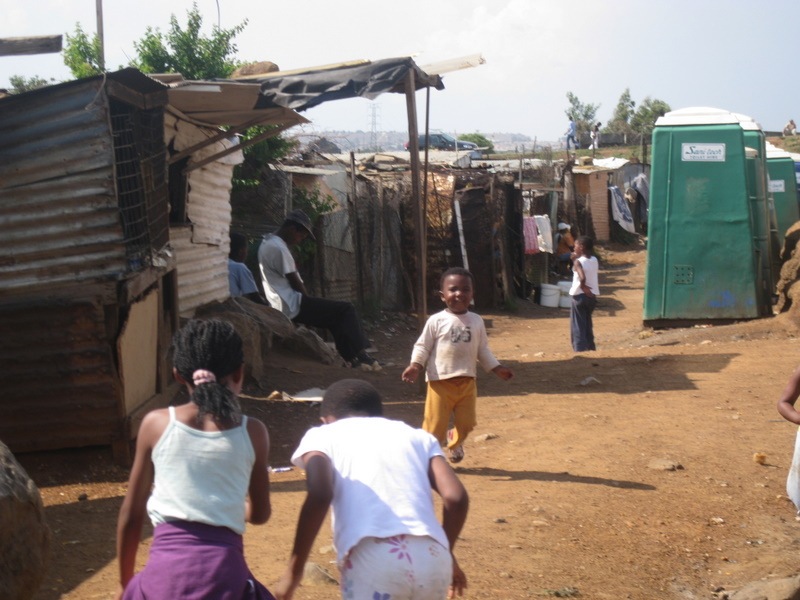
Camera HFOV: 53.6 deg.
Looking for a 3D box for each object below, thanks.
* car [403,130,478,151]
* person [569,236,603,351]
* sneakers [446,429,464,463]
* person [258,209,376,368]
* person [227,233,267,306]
[{"bbox_3d":[2.036,-6.865,34.345,1.695,0.772,9.433,1,11,6],"label":"car"},{"bbox_3d":[2.658,-0.050,11.370,0.372,1.774,1.046,2,11,13],"label":"person"},{"bbox_3d":[0.464,1.242,6.644,0.114,0.152,0.358,0,-23,4],"label":"sneakers"},{"bbox_3d":[-1.077,-0.111,10.204,1.393,1.989,0.906,-1,10,-3],"label":"person"},{"bbox_3d":[-2.209,-0.405,11.229,0.525,0.877,0.951,-4,12,-29],"label":"person"}]
